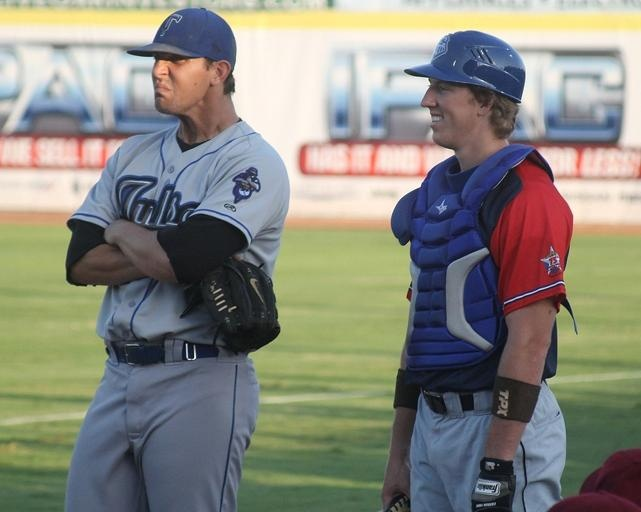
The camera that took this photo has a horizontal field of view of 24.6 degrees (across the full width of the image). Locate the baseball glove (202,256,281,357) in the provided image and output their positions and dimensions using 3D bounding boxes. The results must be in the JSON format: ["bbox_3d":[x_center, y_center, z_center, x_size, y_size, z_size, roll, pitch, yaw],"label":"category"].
[{"bbox_3d":[-0.654,0.386,11.570,0.611,0.670,0.448,3,-36,-27],"label":"baseball glove"}]

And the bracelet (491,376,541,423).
[{"bbox_3d":[1.449,1.077,11.121,0.327,0.262,0.367,32,-14,-34],"label":"bracelet"}]
